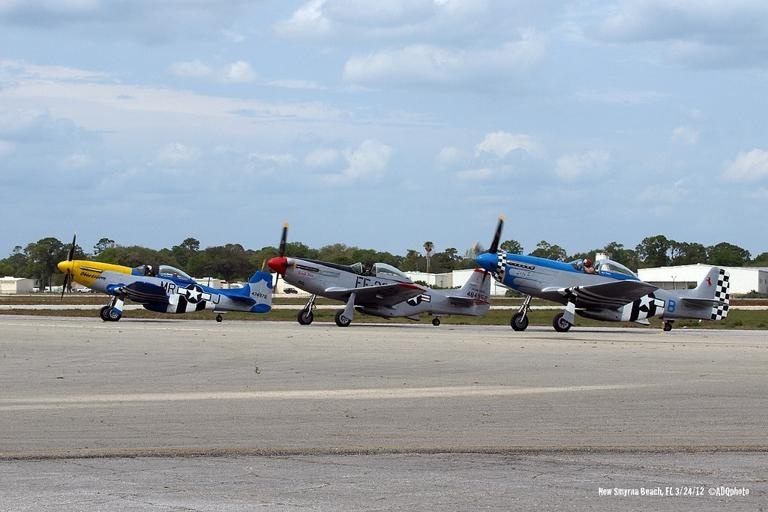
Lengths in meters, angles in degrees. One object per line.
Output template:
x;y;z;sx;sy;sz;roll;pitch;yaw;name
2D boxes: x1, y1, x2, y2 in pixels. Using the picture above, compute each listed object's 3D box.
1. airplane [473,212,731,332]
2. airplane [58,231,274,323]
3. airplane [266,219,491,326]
6.811;1.090;43.531;5.818;1.855;6.019;10;-6;-13;airplane
-6.651;1.145;45.601;5.306;1.534;5.521;7;-4;-18;airplane
0.037;1.046;44.647;4.486;1.610;5.191;11;-6;-24;airplane
